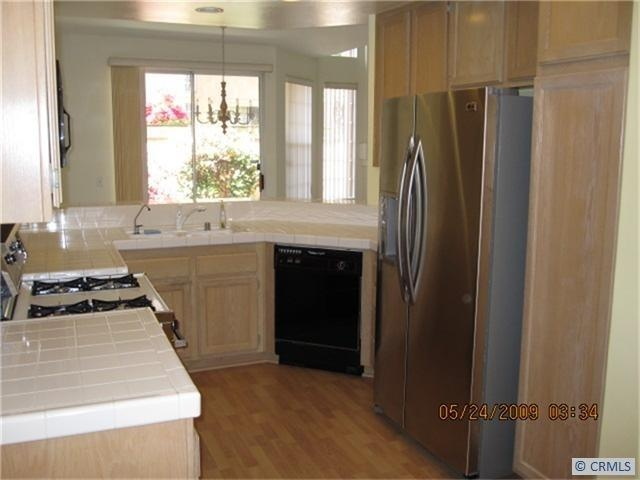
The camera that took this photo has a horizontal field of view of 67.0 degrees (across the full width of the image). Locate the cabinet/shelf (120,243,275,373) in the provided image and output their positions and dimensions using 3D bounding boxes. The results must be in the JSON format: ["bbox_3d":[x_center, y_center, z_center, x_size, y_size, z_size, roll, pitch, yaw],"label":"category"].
[{"bbox_3d":[-1.098,0.531,4.090,1.165,1.025,0.420,-2,9,-27],"label":"cabinet/shelf"}]

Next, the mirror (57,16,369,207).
[{"bbox_3d":[-2.100,-1.490,6.727,3.513,2.062,0.156,4,4,5],"label":"mirror"}]

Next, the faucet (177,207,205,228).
[{"bbox_3d":[-1.214,-0.202,4.546,0.265,0.208,0.411,-1,11,-17],"label":"faucet"}]

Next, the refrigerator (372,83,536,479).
[{"bbox_3d":[0.736,0.231,2.814,0.330,2.109,0.983,-7,14,-40],"label":"refrigerator"}]

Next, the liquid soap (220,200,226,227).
[{"bbox_3d":[-0.928,-0.251,4.639,0.066,0.276,0.325,0,11,-11],"label":"liquid soap"}]

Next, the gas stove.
[{"bbox_3d":[-1.166,0.306,2.474,0.782,0.078,0.712,-1,11,-18],"label":"gas stove"}]

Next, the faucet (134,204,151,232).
[{"bbox_3d":[-1.609,-0.188,4.375,0.157,0.249,0.274,-2,11,-20],"label":"faucet"}]
